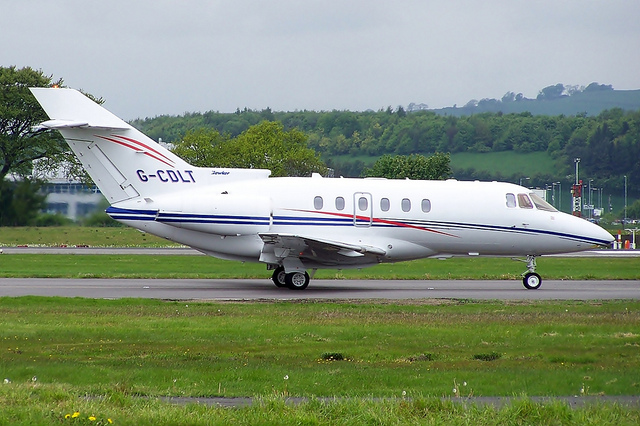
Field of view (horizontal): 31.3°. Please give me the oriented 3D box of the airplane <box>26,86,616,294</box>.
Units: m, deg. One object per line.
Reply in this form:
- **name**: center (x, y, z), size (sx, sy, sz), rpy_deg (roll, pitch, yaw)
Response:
- **airplane**: center (-0.578, -1.164, 55.500), size (24.753, 9.598, 2.752), rpy_deg (0, 13, -2)
